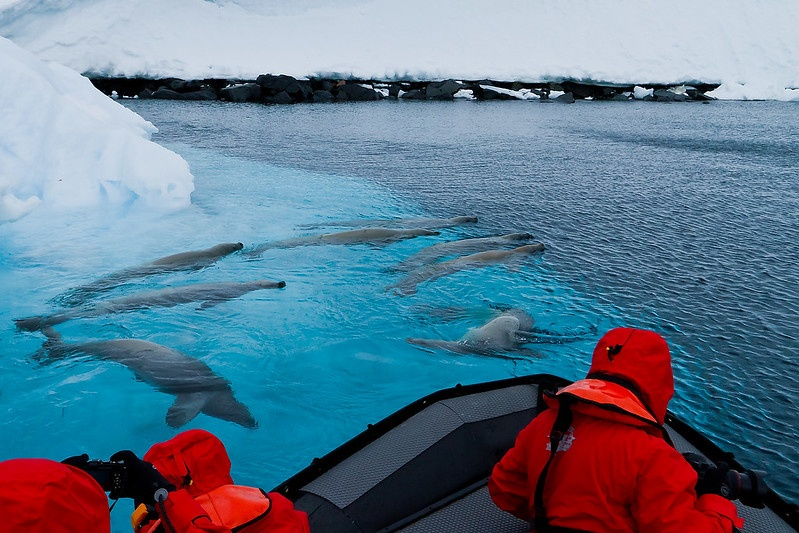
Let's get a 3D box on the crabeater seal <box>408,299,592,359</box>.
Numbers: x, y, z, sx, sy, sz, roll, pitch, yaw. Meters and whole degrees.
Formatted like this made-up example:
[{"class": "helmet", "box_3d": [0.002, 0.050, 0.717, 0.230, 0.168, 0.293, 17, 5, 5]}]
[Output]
[{"class": "crabeater seal", "box_3d": [1.671, 1.187, 10.583, 2.533, 0.394, 1.229, 3, 12, -3]}]
